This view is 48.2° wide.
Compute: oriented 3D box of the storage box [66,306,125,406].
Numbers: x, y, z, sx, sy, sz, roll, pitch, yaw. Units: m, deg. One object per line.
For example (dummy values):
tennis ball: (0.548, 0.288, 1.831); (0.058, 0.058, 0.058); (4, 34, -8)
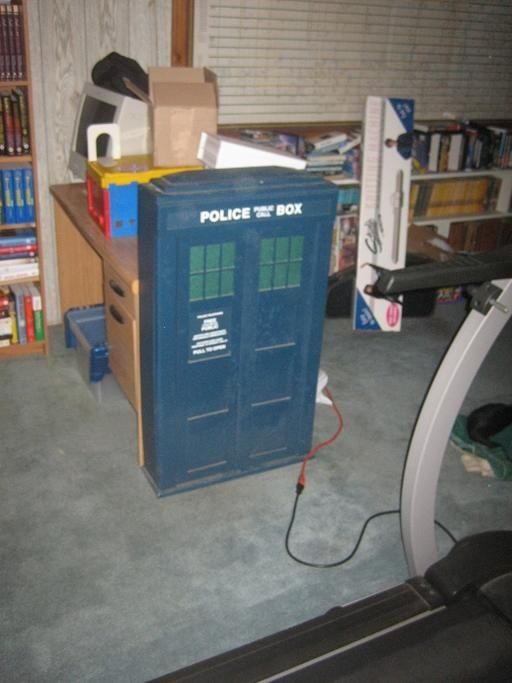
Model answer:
storage box: (-0.972, 0.065, 3.410); (0.413, 0.205, 0.582); (-8, 34, -20)

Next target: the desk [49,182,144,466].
desk: (-0.850, -0.077, 3.036); (0.459, 0.872, 1.413); (-7, 48, -21)

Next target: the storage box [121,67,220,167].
storage box: (-0.463, -1.237, 3.056); (0.449, 0.499, 0.496); (-2, 30, -13)
